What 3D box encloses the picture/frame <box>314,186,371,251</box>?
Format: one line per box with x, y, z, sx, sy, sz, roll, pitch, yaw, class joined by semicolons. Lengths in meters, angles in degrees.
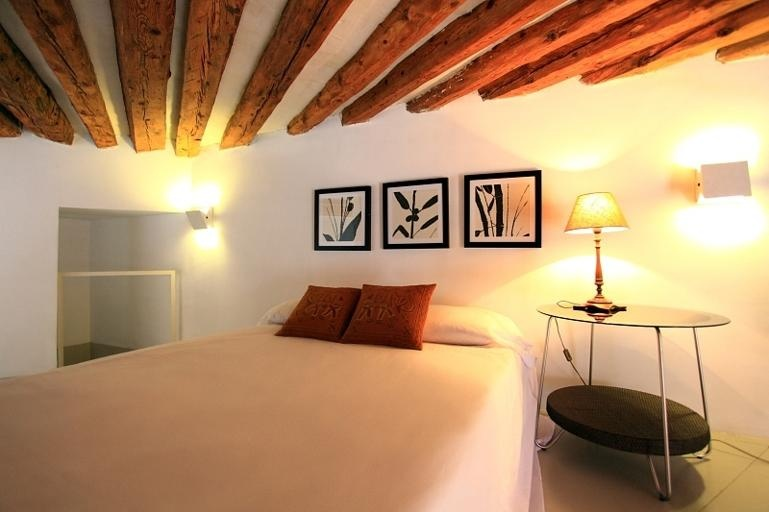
-0.373;-0.347;4.452;0.606;0.625;0.042;0;0;24;picture/frame

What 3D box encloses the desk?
1.739;0.983;3.577;1.149;1.254;1.403;-6;8;-40;desk

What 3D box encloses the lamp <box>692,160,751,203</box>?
2.430;-0.526;3.383;0.363;0.285;0.222;2;3;23;lamp

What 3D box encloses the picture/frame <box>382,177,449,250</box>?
0.293;-0.370;4.186;0.637;0.656;0.044;1;1;25;picture/frame

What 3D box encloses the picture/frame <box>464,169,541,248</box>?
1.001;-0.389;3.925;0.648;0.667;0.048;0;1;23;picture/frame

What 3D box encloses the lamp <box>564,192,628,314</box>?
1.550;-0.038;3.481;0.422;0.874;0.603;2;3;23;lamp
